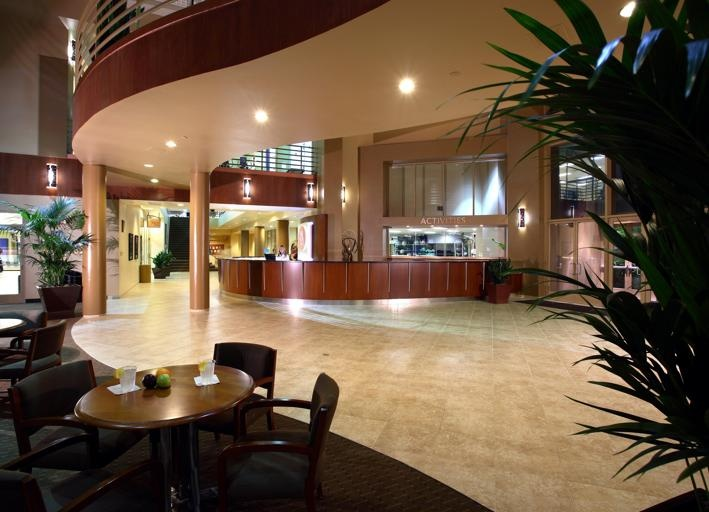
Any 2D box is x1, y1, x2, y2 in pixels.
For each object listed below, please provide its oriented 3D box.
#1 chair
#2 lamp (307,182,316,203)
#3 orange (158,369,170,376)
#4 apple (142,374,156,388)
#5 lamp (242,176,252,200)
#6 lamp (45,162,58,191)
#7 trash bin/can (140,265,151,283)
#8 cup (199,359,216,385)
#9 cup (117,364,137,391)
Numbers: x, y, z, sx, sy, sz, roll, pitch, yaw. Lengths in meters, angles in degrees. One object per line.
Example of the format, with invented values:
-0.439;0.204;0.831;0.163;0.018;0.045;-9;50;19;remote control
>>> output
-1.013;1.227;3.076;1.809;0.908;1.057;-1;2;-2;chair
-1.319;-1.862;14.399;0.334;0.582;0.099;-3;3;-45;lamp
-1.322;0.805;3.320;0.055;0.057;0.057;5;8;7;orange
-1.375;0.844;3.212;0.075;0.086;0.089;18;-43;-6;apple
-2.959;-1.842;13.204;0.259;0.610;0.110;-2;3;-39;lamp
-6.873;-1.783;10.873;0.222;0.592;0.104;-2;2;-30;lamp
-7.534;0.670;17.175;0.405;0.636;0.304;-2;3;-37;trash bin/can
-1.037;0.842;3.416;0.140;0.183;0.135;-2;-12;0;cup
-1.540;0.835;3.280;0.140;0.159;0.141;1;-5;0;cup
